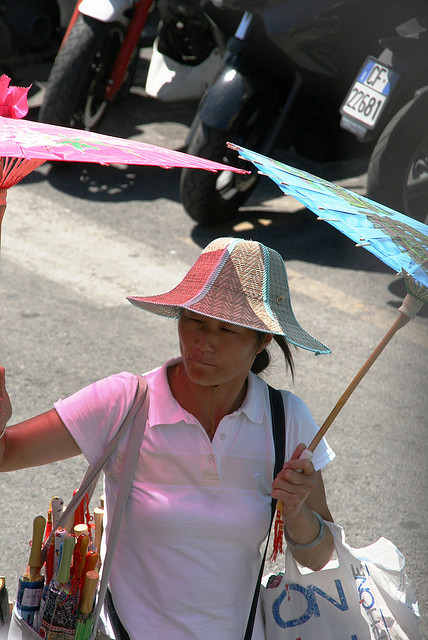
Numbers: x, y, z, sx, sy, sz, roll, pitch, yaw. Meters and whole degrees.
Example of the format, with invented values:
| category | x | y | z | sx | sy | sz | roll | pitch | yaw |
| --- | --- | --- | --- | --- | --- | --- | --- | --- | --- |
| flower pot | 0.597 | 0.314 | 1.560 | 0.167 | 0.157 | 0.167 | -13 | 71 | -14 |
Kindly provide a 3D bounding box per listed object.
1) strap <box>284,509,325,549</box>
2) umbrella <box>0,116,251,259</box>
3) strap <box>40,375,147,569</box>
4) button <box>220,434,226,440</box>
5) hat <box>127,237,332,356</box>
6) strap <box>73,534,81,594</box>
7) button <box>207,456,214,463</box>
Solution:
| category | x | y | z | sx | sy | sz | roll | pitch | yaw |
| --- | --- | --- | --- | --- | --- | --- | --- | --- | --- |
| strap | 0.240 | 0.575 | 1.964 | 0.115 | 0.105 | 0.030 | -29 | 24 | -31 |
| umbrella | -0.323 | -0.340 | 1.721 | 0.481 | 0.211 | 0.672 | 21 | 23 | 10 |
| strap | -0.311 | 0.393 | 1.896 | 0.094 | 0.455 | 0.370 | 22 | 25 | -1 |
| button | 0.023 | 0.311 | 1.885 | 0.019 | 0.015 | 0.004 | 5 | 0 | 3 |
| hat | 0.058 | -0.090 | 2.018 | 0.523 | 0.270 | 0.581 | 9 | -7 | 18 |
| strap | -0.346 | 0.618 | 1.806 | 0.021 | 0.097 | 0.019 | 7 | -4 | -11 |
| button | -0.009 | 0.365 | 1.861 | 0.018 | 0.015 | 0.004 | -6 | 3 | -3 |
